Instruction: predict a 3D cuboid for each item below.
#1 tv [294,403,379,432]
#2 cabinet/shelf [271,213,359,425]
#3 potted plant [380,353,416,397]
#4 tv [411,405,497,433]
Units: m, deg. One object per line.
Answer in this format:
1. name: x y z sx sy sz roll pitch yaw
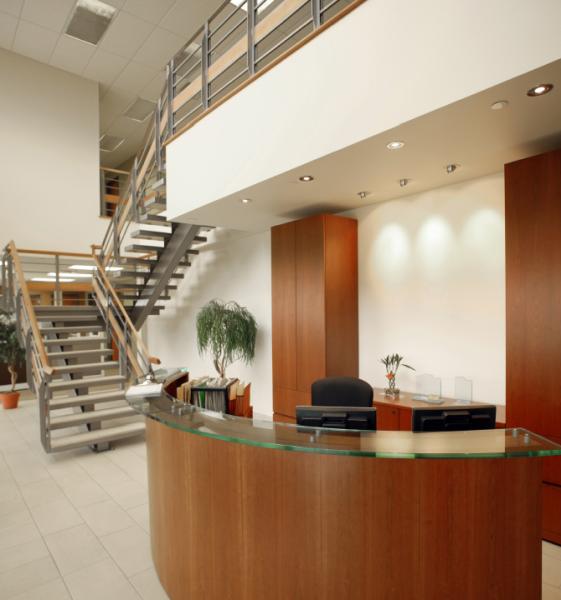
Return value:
1. tv: 0.282 0.605 2.597 0.403 0.113 0.155 0 2 15
2. cabinet/shelf: 0.337 0.244 5.281 0.948 2.209 0.644 0 2 9
3. potted plant: 1.036 0.713 4.694 0.276 0.388 0.361 8 -9 -33
4. tv: 0.903 0.613 2.600 0.292 0.166 0.283 0 -4 6
